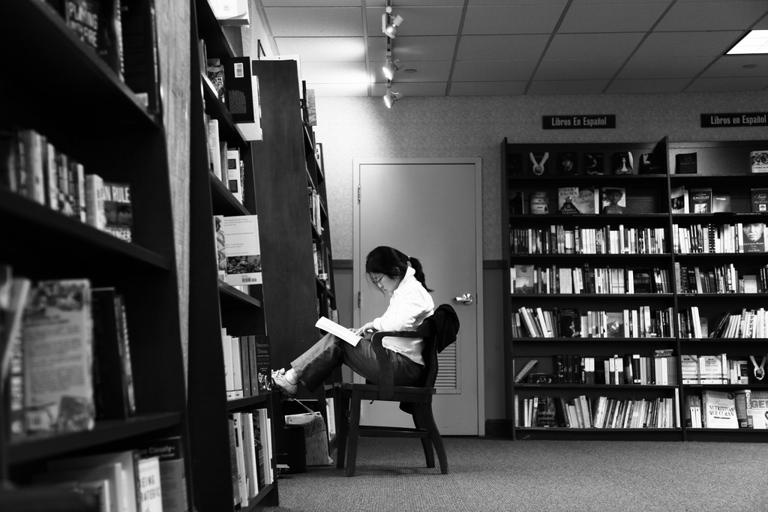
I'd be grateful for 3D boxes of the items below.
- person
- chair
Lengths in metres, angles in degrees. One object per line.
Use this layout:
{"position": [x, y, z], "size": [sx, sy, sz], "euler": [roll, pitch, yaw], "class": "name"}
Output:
{"position": [-0.210, 0.388, 4.158], "size": [1.047, 0.977, 0.565], "euler": [2, -2, -12], "class": "person"}
{"position": [0.083, 0.790, 3.990], "size": [0.731, 0.984, 0.567], "euler": [0, -6, -6], "class": "chair"}
